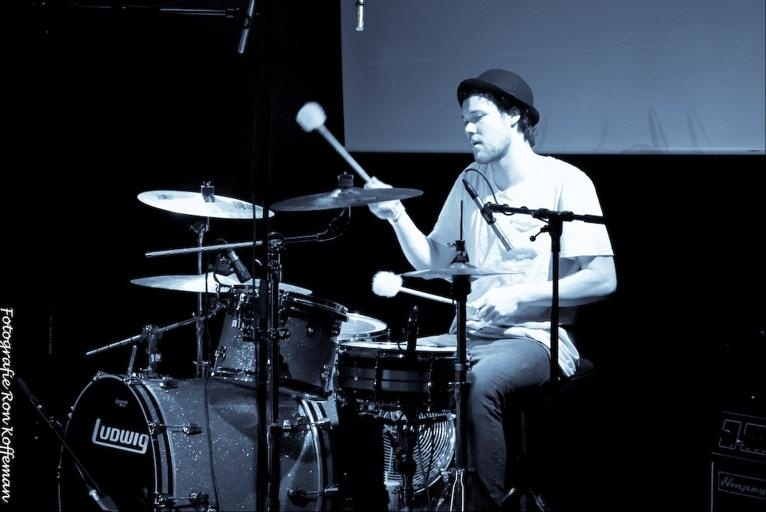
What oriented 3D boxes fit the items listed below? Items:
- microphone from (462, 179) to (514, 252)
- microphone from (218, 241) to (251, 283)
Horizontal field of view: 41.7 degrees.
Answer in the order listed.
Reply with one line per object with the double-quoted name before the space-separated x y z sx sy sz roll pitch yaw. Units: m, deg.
"microphone" 0.690 -0.255 6.537 0.093 0.546 0.095 2 -39 -43
"microphone" -0.900 0.065 6.198 0.158 0.195 0.160 0 -6 -9
